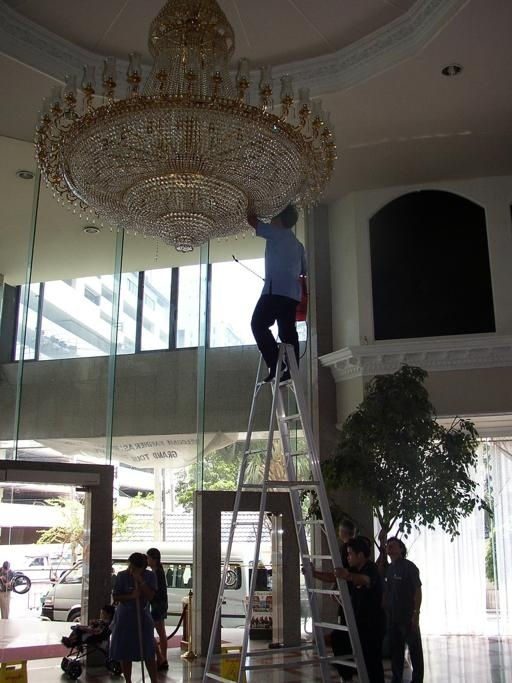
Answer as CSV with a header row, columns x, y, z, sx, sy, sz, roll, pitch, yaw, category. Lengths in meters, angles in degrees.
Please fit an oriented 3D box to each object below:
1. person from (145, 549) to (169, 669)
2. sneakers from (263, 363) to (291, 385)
x,y,z,sx,sy,sz,roll,pitch,yaw,category
-0.948,2.578,5.569,0.272,1.092,0.351,-1,-11,-10,person
0.117,0.216,3.762,0.079,0.112,0.240,5,-14,-33,sneakers
